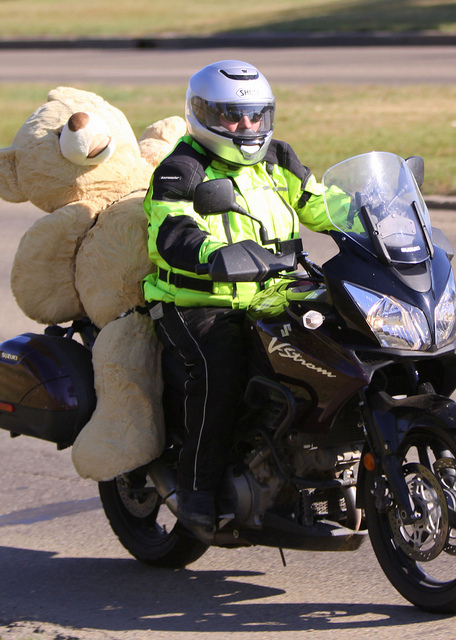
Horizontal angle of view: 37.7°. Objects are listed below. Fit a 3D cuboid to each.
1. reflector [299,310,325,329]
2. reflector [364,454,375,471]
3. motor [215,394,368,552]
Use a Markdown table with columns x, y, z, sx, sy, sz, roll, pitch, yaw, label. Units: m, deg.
| x | y | z | sx | sy | sz | roll | pitch | yaw | label |
| --- | --- | --- | --- | --- | --- | --- | --- | --- | --- |
| 0.248 | 0.007 | 2.018 | 0.053 | 0.072 | 0.066 | -23 | 47 | -36 | reflector |
| 0.445 | 0.454 | 2.117 | 0.013 | 0.050 | 0.044 | 2 | 55 | -28 | reflector |
| 0.228 | 0.590 | 2.346 | 0.383 | 0.850 | 0.459 | 30 | 60 | -37 | motor |
